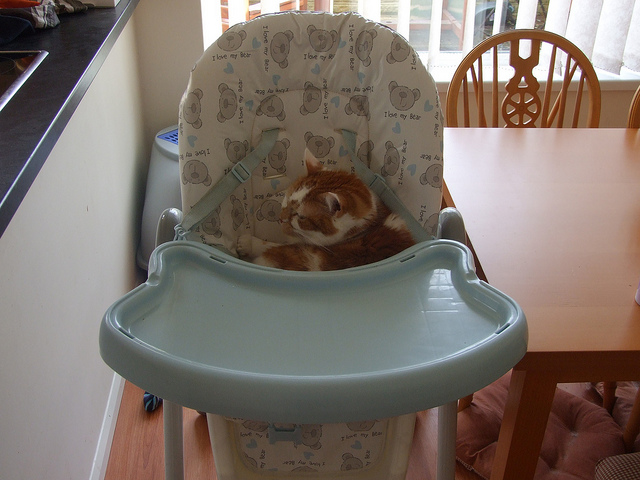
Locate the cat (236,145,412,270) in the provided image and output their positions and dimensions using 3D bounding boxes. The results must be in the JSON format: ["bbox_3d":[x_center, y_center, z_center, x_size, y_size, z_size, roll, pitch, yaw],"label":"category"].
[{"bbox_3d":[0.000,-0.022,1.157,0.327,0.238,0.231,2,46,-5],"label":"cat"}]

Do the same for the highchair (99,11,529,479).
[{"bbox_3d":[-0.025,0.052,1.368,0.704,1.194,1.093,0,46,-1],"label":"highchair"}]
